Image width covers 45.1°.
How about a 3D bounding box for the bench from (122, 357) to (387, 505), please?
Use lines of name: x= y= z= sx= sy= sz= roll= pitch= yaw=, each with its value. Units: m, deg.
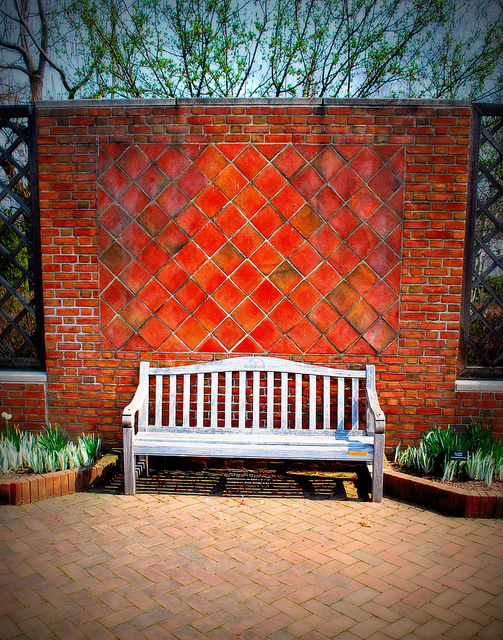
bench: x=0.026 y=0.898 z=5.042 sx=2.066 sy=0.965 sz=0.664 roll=1 pitch=8 yaw=3
